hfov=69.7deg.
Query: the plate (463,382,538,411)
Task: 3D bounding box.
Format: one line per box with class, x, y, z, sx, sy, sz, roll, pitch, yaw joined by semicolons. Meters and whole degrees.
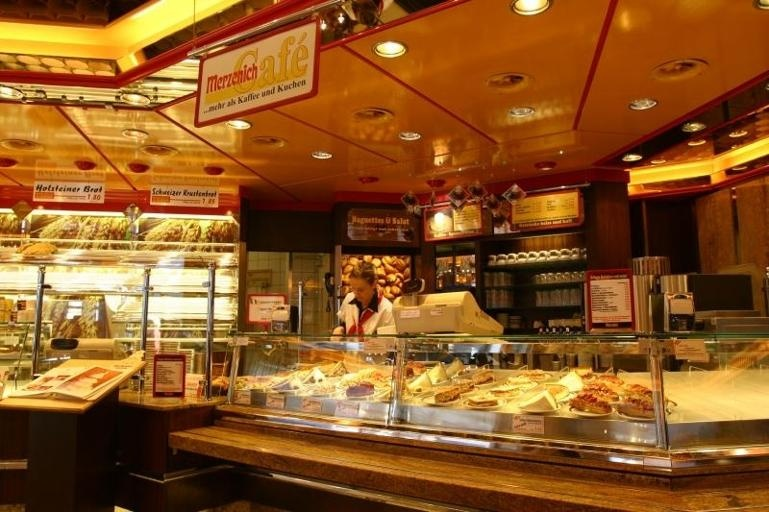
plate;0.618;0.731;2.882;0.366;0.137;0.062;-2;-9;12
